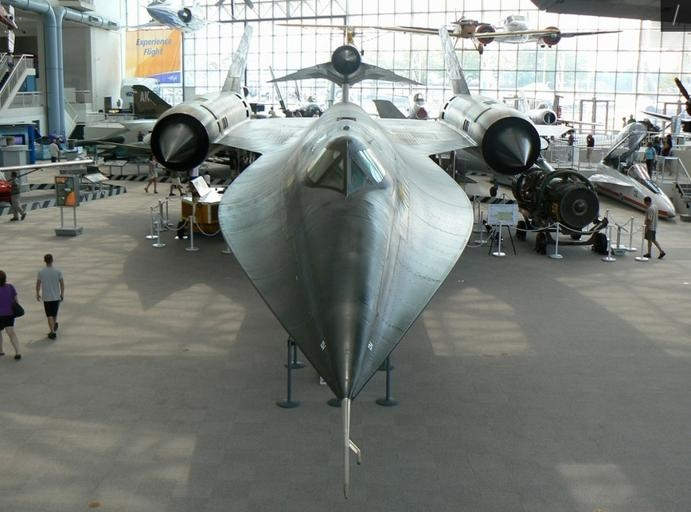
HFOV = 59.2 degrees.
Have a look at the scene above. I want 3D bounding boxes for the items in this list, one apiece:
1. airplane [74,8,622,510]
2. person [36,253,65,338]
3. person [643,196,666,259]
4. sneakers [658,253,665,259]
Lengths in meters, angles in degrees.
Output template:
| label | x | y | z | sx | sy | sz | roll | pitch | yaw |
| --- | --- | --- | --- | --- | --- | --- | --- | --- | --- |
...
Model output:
| label | x | y | z | sx | sy | sz | roll | pitch | yaw |
| --- | --- | --- | --- | --- | --- | --- | --- | --- | --- |
| airplane | 0.268 | 0.627 | 12.424 | 6.981 | 2.997 | 11.349 | -1 | 26 | 1 |
| person | -5.310 | 0.648 | 10.952 | 0.426 | 1.528 | 1.099 | -5 | 12 | -28 |
| person | 8.199 | -0.776 | 16.148 | 0.568 | 1.644 | 2.197 | 6 | 12 | 28 |
| sneakers | 8.365 | -0.001 | 16.146 | 0.171 | 0.122 | 0.061 | -28 | -6 | -11 |
